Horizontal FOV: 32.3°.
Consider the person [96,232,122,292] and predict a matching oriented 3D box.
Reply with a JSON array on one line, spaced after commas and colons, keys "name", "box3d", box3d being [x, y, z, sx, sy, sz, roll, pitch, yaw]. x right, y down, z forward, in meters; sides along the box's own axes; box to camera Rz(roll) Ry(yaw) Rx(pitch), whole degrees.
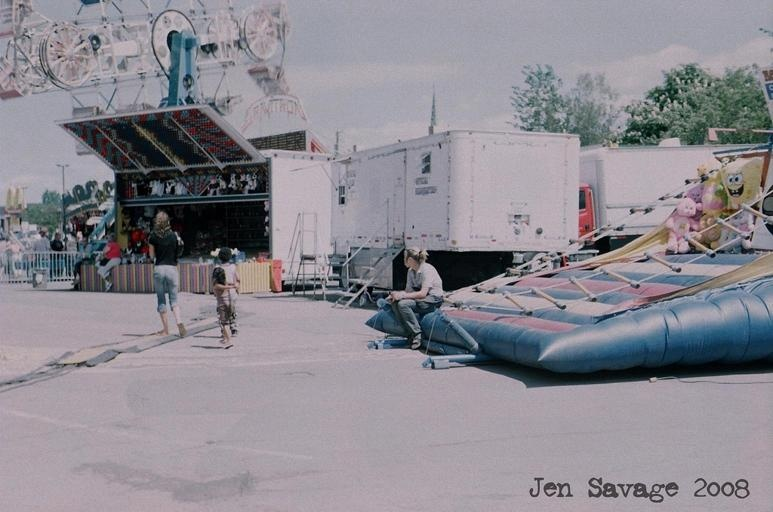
[{"name": "person", "box3d": [-8.226, 0.165, 40.148, 0.730, 1.694, 0.657, -6, 8, -7]}]

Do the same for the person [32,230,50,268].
[{"name": "person", "box3d": [-11.544, -0.260, 45.448, 0.544, 1.182, 2.534, -7, 8, -13]}]

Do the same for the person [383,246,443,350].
[{"name": "person", "box3d": [0.580, 0.887, 29.310, 1.201, 2.223, 0.754, -5, 8, 2]}]

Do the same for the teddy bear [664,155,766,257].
[{"name": "teddy bear", "box3d": [7.191, -1.191, 30.028, 1.105, 2.288, 1.760, 44, -4, -17]}]

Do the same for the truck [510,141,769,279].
[{"name": "truck", "box3d": [6.784, -1.161, 31.650, 6.272, 3.247, 3.208, -4, 3, 11]}]

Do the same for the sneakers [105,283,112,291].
[{"name": "sneakers", "box3d": [-8.221, 0.908, 40.107, 0.115, 0.226, 0.340, -13, 11, -42]}]

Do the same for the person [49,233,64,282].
[{"name": "person", "box3d": [-11.268, 0.021, 46.336, 0.464, 1.241, 1.929, -7, 8, -13]}]

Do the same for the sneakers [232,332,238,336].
[{"name": "sneakers", "box3d": [-3.394, 1.752, 30.163, 0.088, 0.152, 0.159, -7, 7, -23]}]

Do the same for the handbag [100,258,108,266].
[{"name": "handbag", "box3d": [-8.340, 0.150, 40.131, 0.220, 0.200, 0.059, 15, 1, 26]}]

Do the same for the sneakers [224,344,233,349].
[{"name": "sneakers", "box3d": [-3.424, 1.975, 29.268, 0.192, 0.063, 0.285, -5, 7, -4]}]

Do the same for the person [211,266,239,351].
[{"name": "person", "box3d": [-3.493, 1.090, 29.413, 0.402, 1.763, 0.575, -6, 8, -8]}]
